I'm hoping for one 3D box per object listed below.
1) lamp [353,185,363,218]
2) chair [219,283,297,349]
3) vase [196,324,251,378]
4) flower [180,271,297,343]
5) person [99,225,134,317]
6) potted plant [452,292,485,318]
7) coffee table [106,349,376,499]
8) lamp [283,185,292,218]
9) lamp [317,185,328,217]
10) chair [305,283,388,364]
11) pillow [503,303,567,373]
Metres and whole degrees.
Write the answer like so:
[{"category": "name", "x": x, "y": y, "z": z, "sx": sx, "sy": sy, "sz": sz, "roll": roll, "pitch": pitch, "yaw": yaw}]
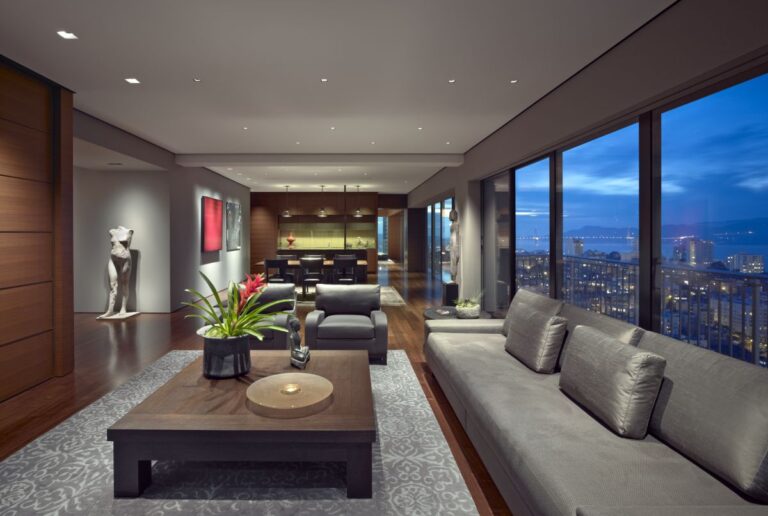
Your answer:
[{"category": "lamp", "x": -0.749, "y": -1.582, "z": 13.532, "sx": 0.247, "sy": 0.761, "sz": 0.786, "roll": 1, "pitch": 2, "yaw": -4}, {"category": "chair", "x": -1.443, "y": 0.718, "z": 5.690, "sx": 0.908, "sy": 0.676, "sz": 0.909, "roll": -13, "pitch": 25, "yaw": -35}, {"category": "vase", "x": -1.399, "y": 0.829, "z": 4.080, "sx": 0.498, "sy": 0.315, "sz": 0.481, "roll": 0, "pitch": -3, "yaw": 14}, {"category": "flower", "x": -1.852, "y": 0.600, "z": 5.668, "sx": 1.008, "sy": 0.640, "sz": 1.007, "roll": 2, "pitch": -1, "yaw": -3}, {"category": "person", "x": -4.576, "y": 0.214, "z": 7.939, "sx": 0.496, "sy": 1.545, "sz": 0.493, "roll": 0, "pitch": 2, "yaw": -28}, {"category": "potted plant", "x": 1.080, "y": 0.541, "z": 5.648, "sx": 0.446, "sy": 0.358, "sz": 0.331, "roll": -1, "pitch": -2, "yaw": 24}, {"category": "coffee table", "x": -1.071, "y": 1.231, "z": 3.472, "sx": 1.244, "sy": 0.318, "sz": 1.220, "roll": 0, "pitch": 4, "yaw": 3}, {"category": "lamp", "x": -2.739, "y": -1.552, "z": 13.135, "sx": 0.218, "sy": 0.759, "sz": 1.050, "roll": 0, "pitch": 2, "yaw": -12}, {"category": "lamp", "x": -1.741, "y": -1.565, "z": 13.161, "sx": 0.221, "sy": 0.773, "sz": 1.131, "roll": 1, "pitch": 2, "yaw": -8}, {"category": "chair", "x": -0.422, "y": 0.818, "z": 5.802, "sx": 1.011, "sy": 0.898, "sz": 0.911, "roll": 0, "pitch": -11, "yaw": 1}, {"category": "pillow", "x": 1.387, "y": 0.735, "z": 4.192, "sx": 0.194, "sy": 0.333, "sz": 0.546, "roll": 8, "pitch": 2, "yaw": -9}]
